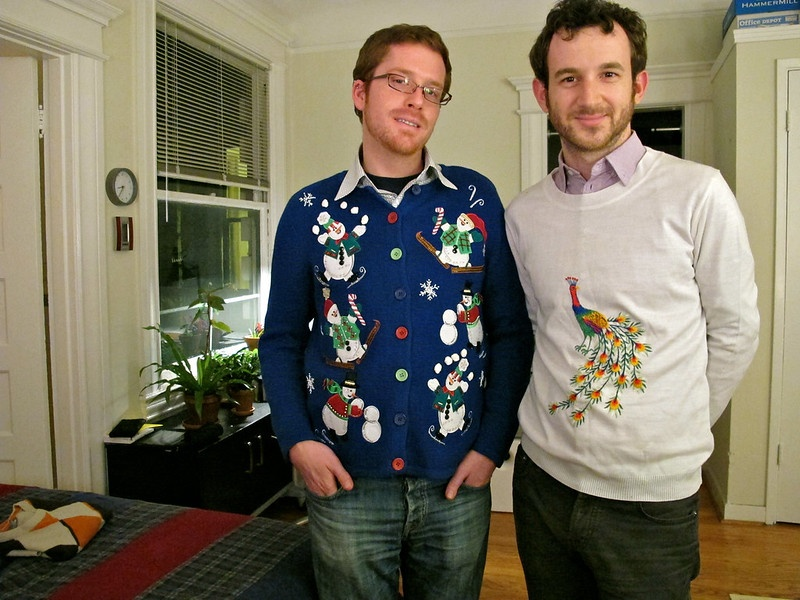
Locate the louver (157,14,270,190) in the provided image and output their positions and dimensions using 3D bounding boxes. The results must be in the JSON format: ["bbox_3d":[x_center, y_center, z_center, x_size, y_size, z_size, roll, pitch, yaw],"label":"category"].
[{"bbox_3d":[-1.141,-1.200,4.065,0.114,0.842,1.311,-1,-1,20],"label":"louver"}]
